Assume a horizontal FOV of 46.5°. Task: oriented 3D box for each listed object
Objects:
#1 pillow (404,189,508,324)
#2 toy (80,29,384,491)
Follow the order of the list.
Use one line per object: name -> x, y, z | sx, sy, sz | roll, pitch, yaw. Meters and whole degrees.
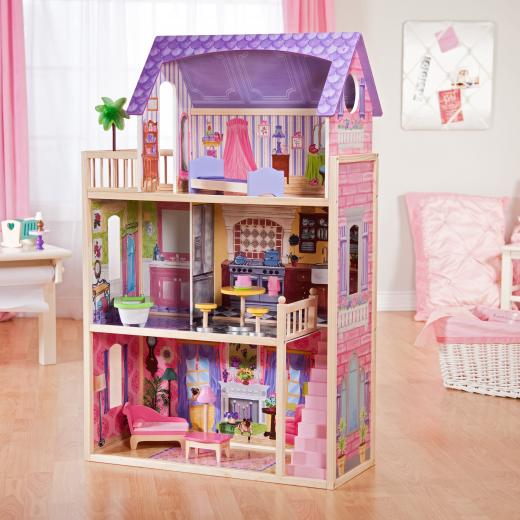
pillow -> 1.505, -0.038, 4.606 | 0.817, 1.165, 0.376 | 2, -2, 8
toy -> -0.120, -0.055, 2.188 | 1.054, 1.546, 0.590 | 1, 2, 20
